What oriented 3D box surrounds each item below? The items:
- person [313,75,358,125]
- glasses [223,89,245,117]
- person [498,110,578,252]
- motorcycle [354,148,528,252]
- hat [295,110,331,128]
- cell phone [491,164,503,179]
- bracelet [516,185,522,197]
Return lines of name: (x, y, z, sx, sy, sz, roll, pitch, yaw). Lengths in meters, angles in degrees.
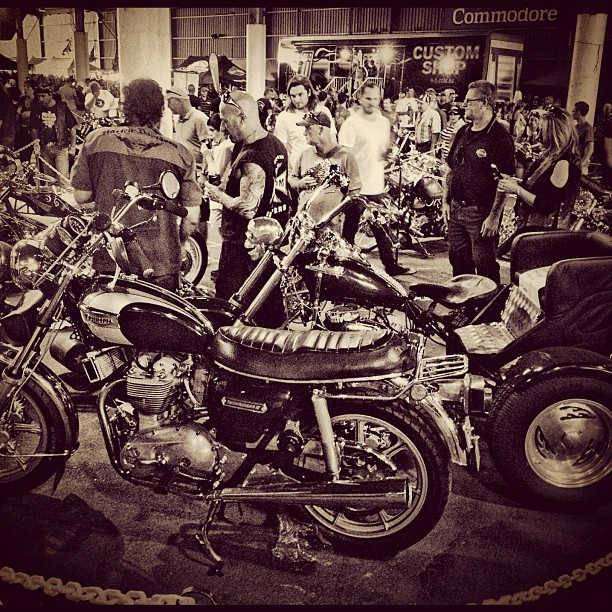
person: (0.341, -2.588, 7.364, 0.650, 0.660, 1.046, -2, 21, 2)
glasses: (-0.506, -1.384, 4.046, 0.153, 0.048, 0.126, 34, 8, -30)
person: (1.840, -1.017, 4.645, 0.499, 0.462, 1.307, 14, -28, 11)
motorcycle: (1.445, -1.101, 7.919, 2.232, 1.439, 1.559, 3, 22, -9)
hat: (0.079, -1.589, 5.017, 0.197, 0.100, 0.148, -2, 20, -3)
cell phone: (1.573, -1.104, 4.872, 0.047, 0.177, 0.044, -29, 11, -21)
bracelet: (1.691, -0.911, 4.670, 0.018, 0.065, 0.066, 2, 8, 6)
